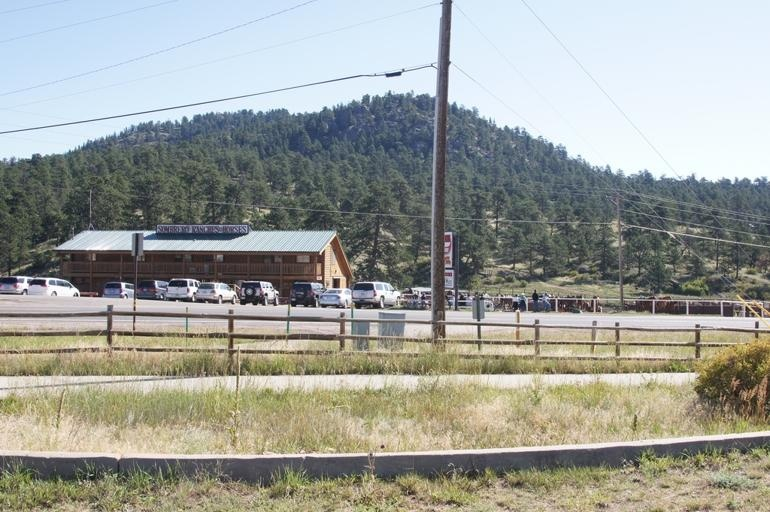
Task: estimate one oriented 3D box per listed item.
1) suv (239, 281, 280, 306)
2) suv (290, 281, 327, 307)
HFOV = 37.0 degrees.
[{"bbox_3d":[-16.517,4.706,152.539,4.742,3.100,2.655,2,-2,-20],"label":"suv"},{"bbox_3d":[-10.271,4.822,153.270,4.004,3.130,1.940,1,-2,-13],"label":"suv"}]
